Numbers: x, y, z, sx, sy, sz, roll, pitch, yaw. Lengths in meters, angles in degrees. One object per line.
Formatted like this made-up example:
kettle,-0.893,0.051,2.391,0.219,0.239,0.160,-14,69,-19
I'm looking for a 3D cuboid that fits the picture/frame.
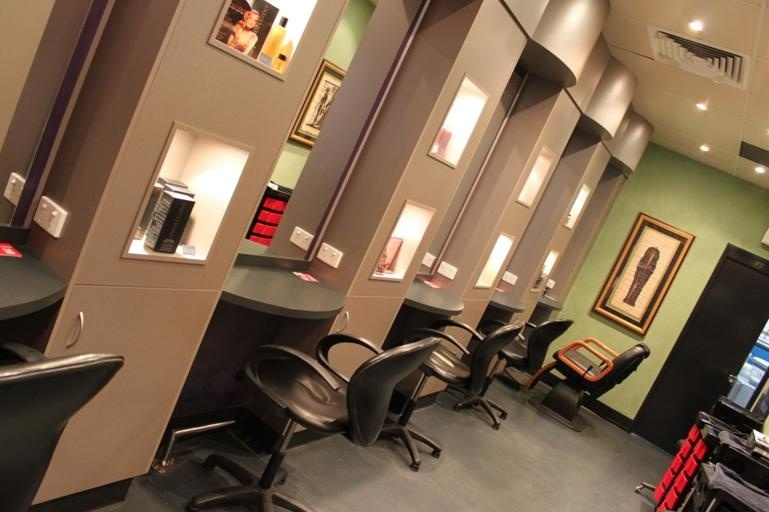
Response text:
picture/frame,3.758,0.261,7.254,1.088,2.059,0.145,27,2,38
